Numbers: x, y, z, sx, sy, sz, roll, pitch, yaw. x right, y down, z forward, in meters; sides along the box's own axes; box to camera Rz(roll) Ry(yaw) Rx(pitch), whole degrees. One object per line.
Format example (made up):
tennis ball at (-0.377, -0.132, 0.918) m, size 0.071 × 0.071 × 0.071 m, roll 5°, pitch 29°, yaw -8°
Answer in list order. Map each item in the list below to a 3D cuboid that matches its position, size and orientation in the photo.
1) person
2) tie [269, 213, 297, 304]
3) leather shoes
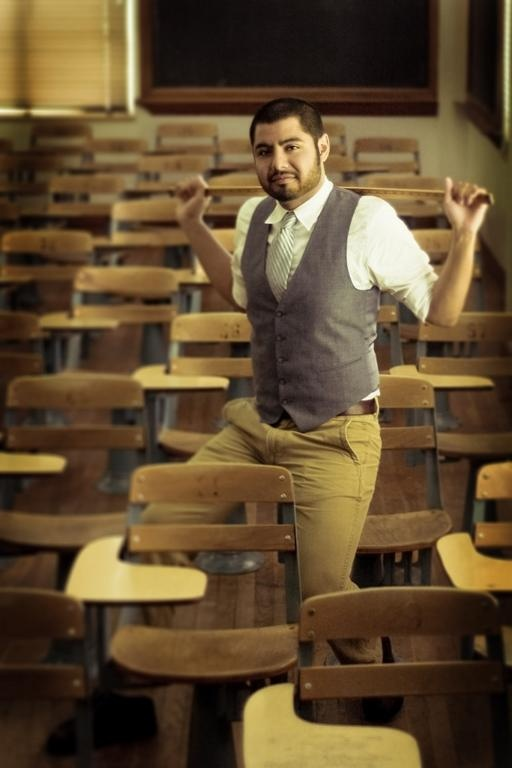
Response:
person at (0.071, -0.030, 1.510) m, size 0.669 × 1.351 × 0.711 m, roll 21°, pitch 32°, yaw 27°
tie at (0.044, -0.236, 1.251) m, size 0.031 × 0.146 × 0.069 m, roll -9°, pitch 25°, yaw -21°
leather shoes at (-0.262, 0.635, 1.314) m, size 0.244 × 0.098 × 0.093 m, roll -1°, pitch 8°, yaw -5°
